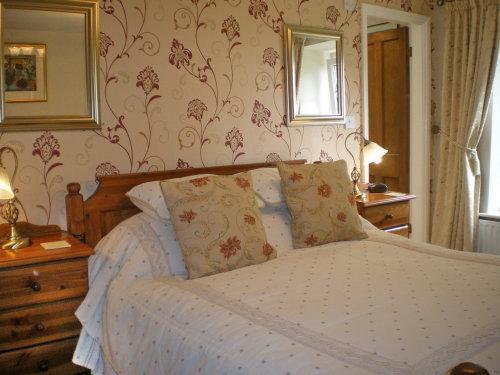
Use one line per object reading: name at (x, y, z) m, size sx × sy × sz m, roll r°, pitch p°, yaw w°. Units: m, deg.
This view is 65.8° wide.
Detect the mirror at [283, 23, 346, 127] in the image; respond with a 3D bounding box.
mirror at (0.546, -1.003, 3.388) m, size 0.782 × 0.986 × 0.070 m, roll -6°, pitch 6°, yaw -30°
